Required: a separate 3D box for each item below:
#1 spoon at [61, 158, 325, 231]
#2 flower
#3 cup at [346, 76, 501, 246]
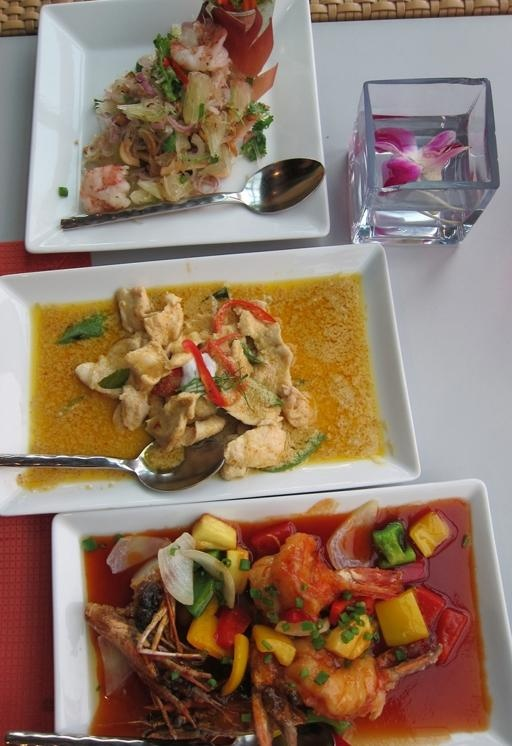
[{"bbox_3d":[-0.190,-0.545,2.044,0.932,0.116,0.175,-8,87,1],"label":"spoon"},{"bbox_3d":[0.489,-0.683,2.010,0.207,0.275,0.077,4,88,-24],"label":"flower"},{"bbox_3d":[0.483,-0.632,2.145,0.503,0.465,0.455,2,77,-4],"label":"cup"}]
